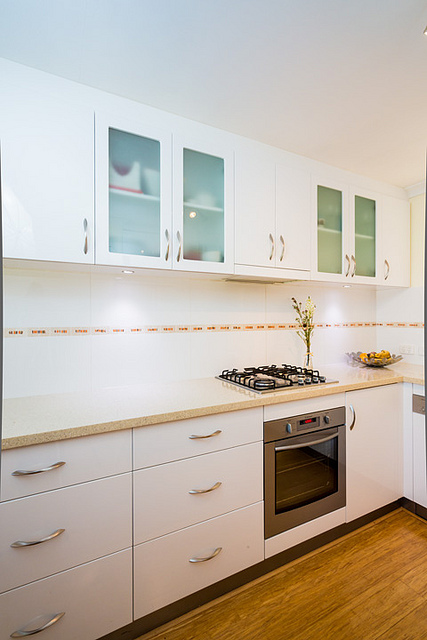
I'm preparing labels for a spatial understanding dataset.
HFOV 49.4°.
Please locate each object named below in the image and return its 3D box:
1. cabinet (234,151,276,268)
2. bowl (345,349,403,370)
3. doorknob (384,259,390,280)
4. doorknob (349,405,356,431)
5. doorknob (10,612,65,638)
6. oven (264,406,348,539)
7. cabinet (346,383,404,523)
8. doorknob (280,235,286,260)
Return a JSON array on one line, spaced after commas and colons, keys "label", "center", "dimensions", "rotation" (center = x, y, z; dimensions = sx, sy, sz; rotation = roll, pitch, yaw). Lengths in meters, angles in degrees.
[{"label": "cabinet", "center": [0.180, -0.524, 2.358], "dimensions": [0.180, 0.593, 0.166], "rotation": [-1, 7, -38]}, {"label": "bowl", "center": [1.063, 0.249, 3.074], "dimensions": [0.294, 0.104, 0.320], "rotation": [0, 10, 0]}, {"label": "doorknob", "center": [1.118, -0.326, 2.980], "dimensions": [0.020, 0.126, 0.062], "rotation": [7, 12, 39]}, {"label": "doorknob", "center": [0.714, 0.499, 2.379], "dimensions": [0.020, 0.127, 0.051], "rotation": [8, 13, 43]}, {"label": "doorknob", "center": [-0.593, 1.039, 1.567], "dimensions": [0.175, 0.040, 0.020], "rotation": [-5, 11, -26]}, {"label": "oven", "center": [0.391, 0.689, 2.328], "dimensions": [0.491, 0.563, 0.372], "rotation": [-6, 7, -21]}, {"label": "cabinet", "center": [0.822, 0.657, 2.572], "dimensions": [0.462, 0.667, 0.375], "rotation": [-1, 2, -36]}, {"label": "doorknob", "center": [0.360, -0.376, 2.413], "dimensions": [0.017, 0.118, 0.046], "rotation": [8, 13, 44]}]
